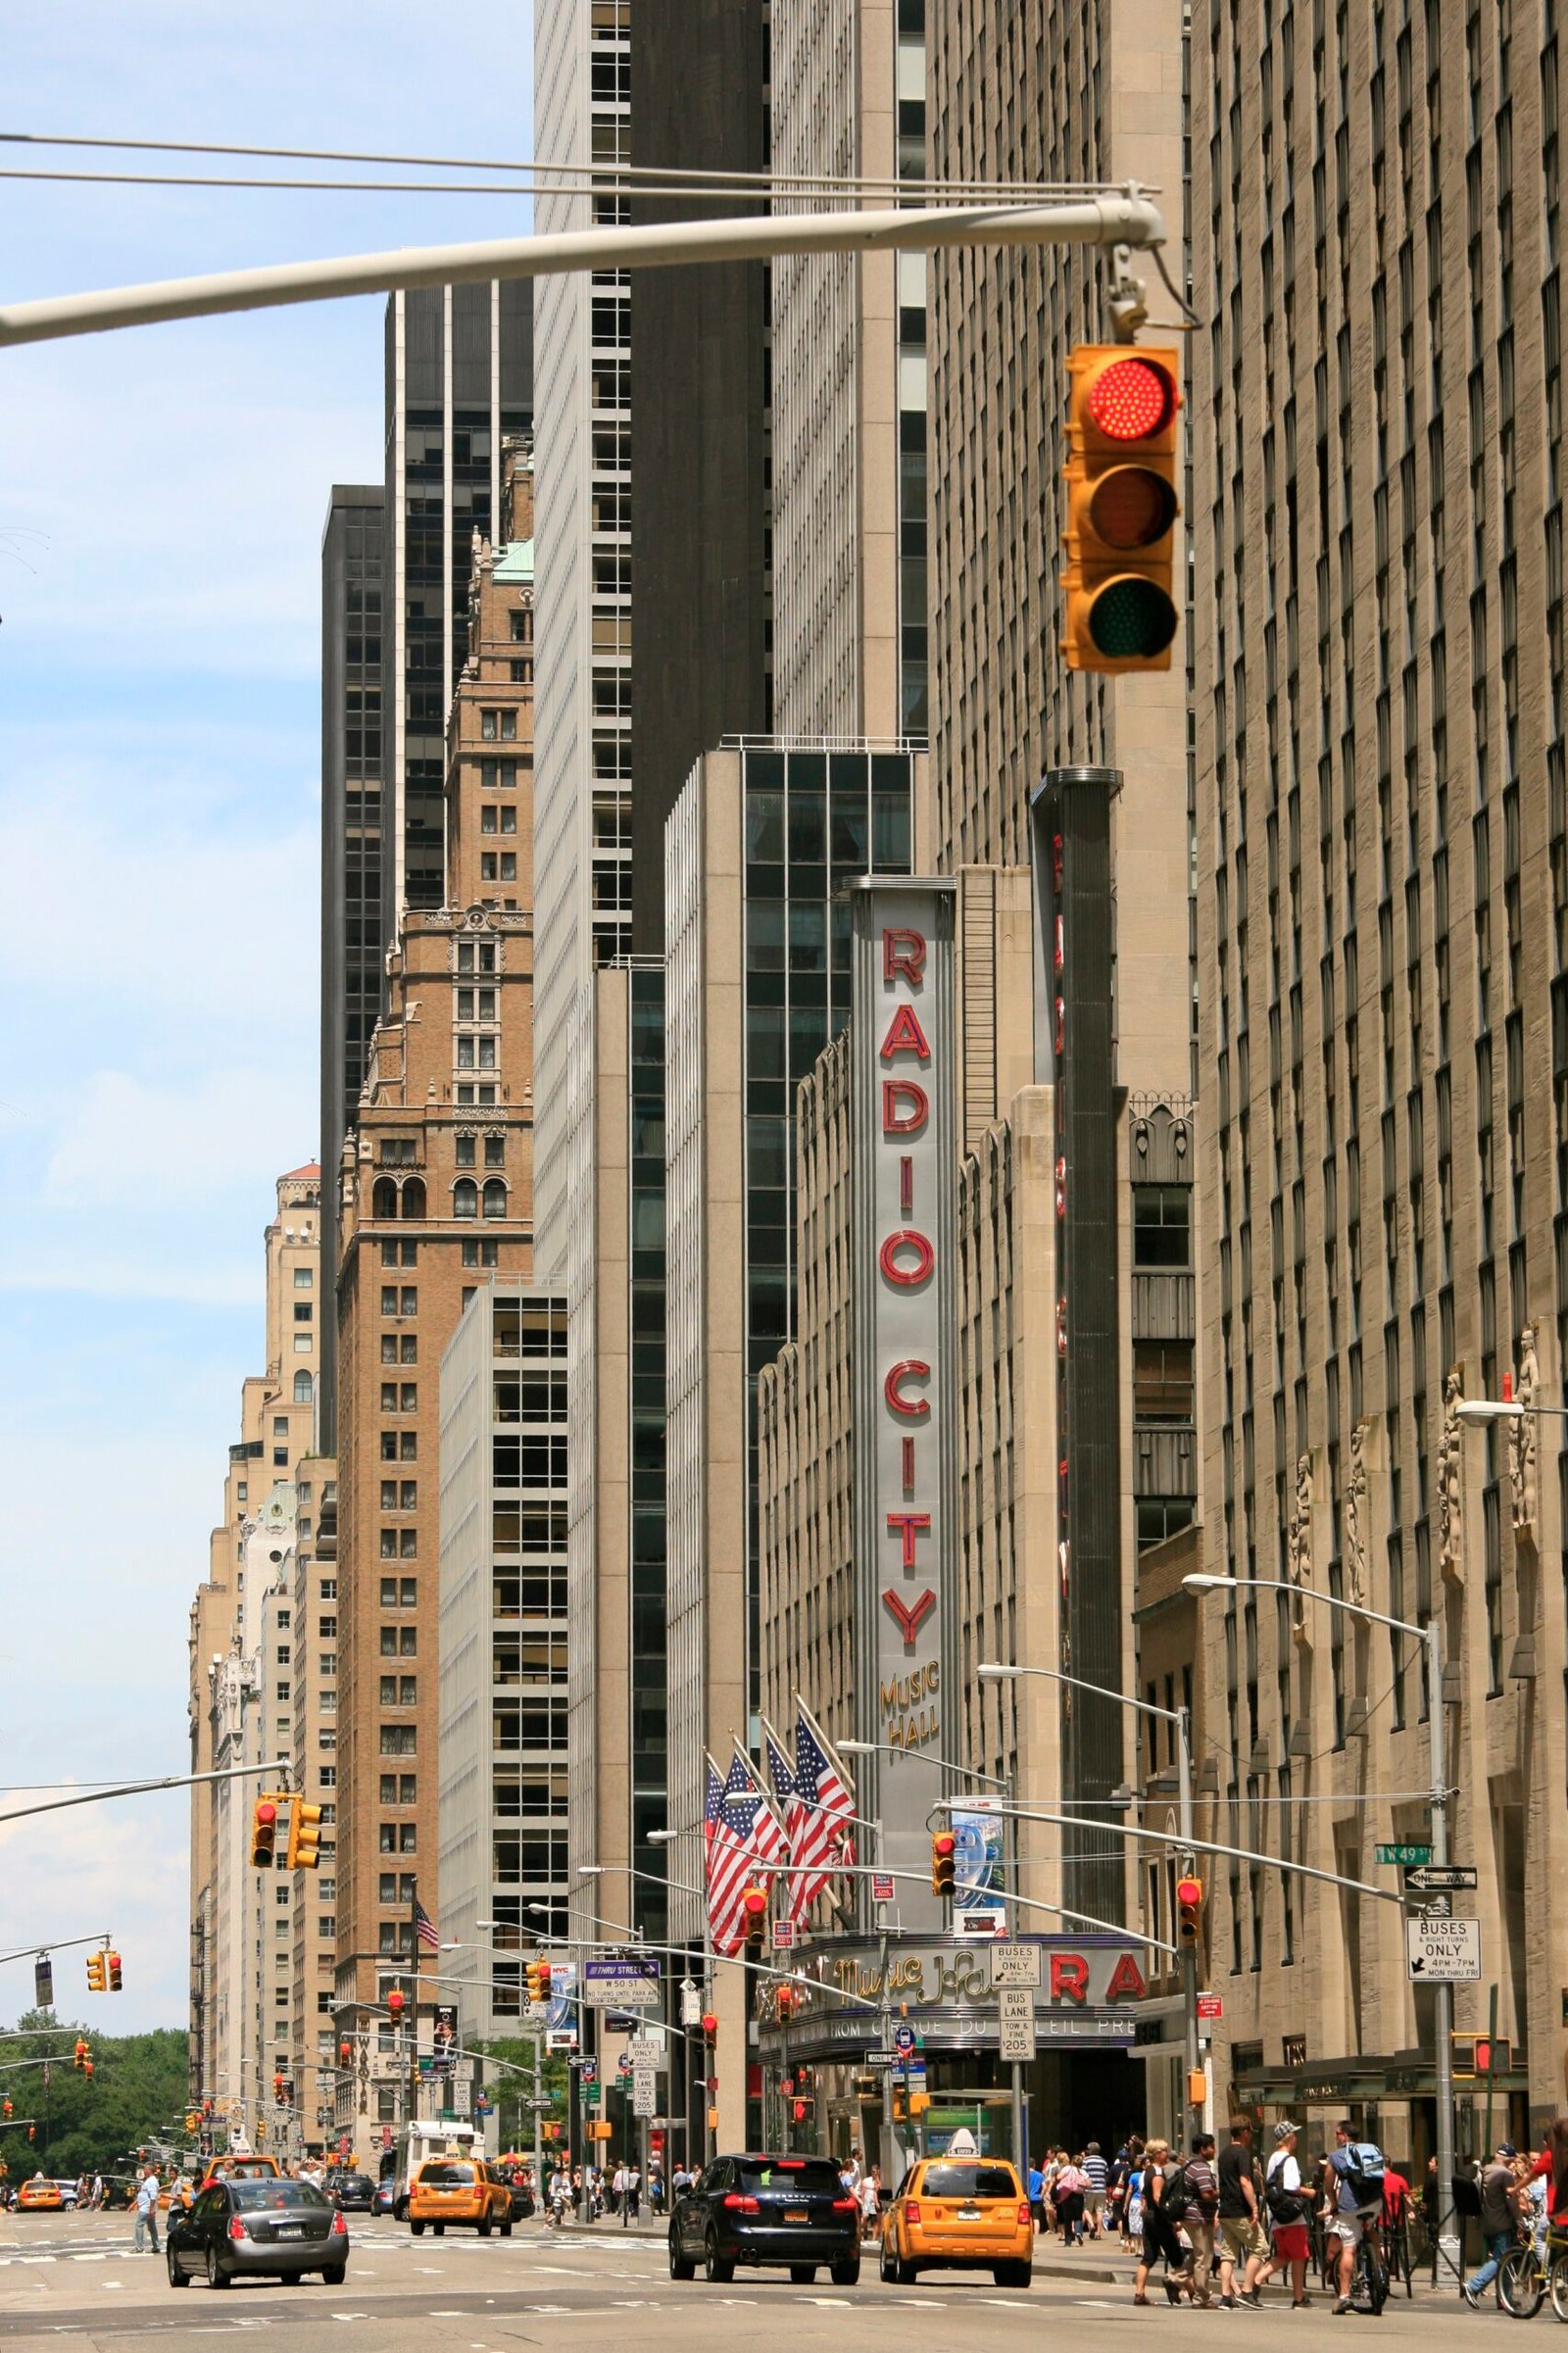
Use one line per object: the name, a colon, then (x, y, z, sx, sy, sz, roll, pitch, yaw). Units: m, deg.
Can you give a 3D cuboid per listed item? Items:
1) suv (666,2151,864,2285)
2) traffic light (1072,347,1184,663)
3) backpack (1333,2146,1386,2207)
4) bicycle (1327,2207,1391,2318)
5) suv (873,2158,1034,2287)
suv: (-0.319, 14.476, 95.390, 2.431, 1.956, 6.589, -5, -5, -4)
traffic light: (2.683, -5.223, 55.256, 0.935, 2.591, 0.498, -4, -3, 1)
backpack: (6.919, 12.135, 83.637, 0.370, 0.668, 0.744, 8, -55, 2)
bicycle: (6.846, 13.069, 82.481, 0.494, 0.900, 1.190, 3, 1, 1)
suv: (2.356, 14.244, 93.387, 2.059, 1.746, 1.412, -7, -5, 17)
